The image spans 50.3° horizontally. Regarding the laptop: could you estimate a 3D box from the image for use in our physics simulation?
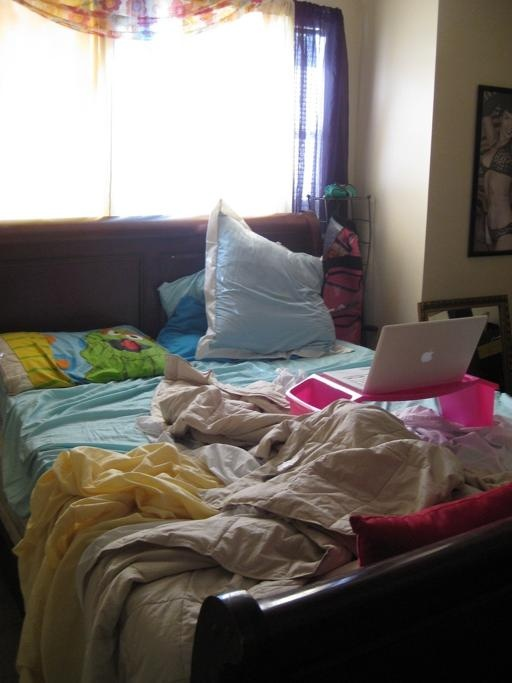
[{"bbox_3d":[0.449,0.036,1.472,0.277,0.167,0.251,-3,9,-30],"label":"laptop"}]
